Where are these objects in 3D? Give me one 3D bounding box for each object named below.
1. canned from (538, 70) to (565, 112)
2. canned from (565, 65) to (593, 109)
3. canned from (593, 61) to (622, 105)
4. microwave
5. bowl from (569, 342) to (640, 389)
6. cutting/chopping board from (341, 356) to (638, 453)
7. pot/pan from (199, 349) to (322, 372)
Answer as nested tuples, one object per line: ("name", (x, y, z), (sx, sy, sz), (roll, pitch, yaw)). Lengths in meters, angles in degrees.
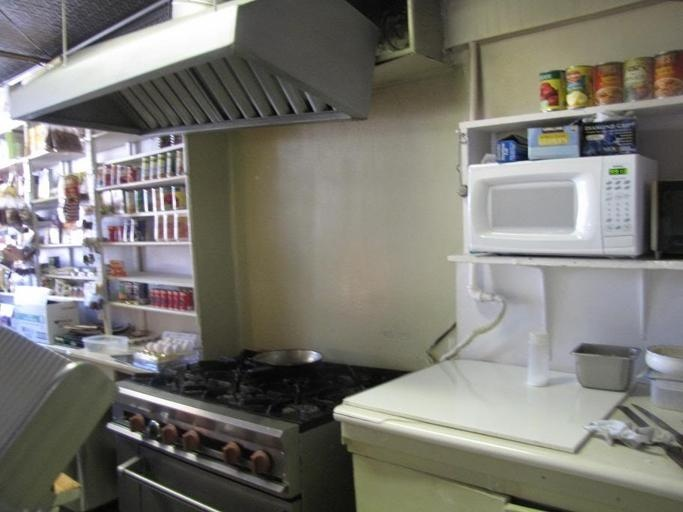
("canned", (0.797, -0.622, 2.065), (0.101, 0.142, 0.098), (-2, 5, 33))
("canned", (0.882, -0.614, 2.024), (0.113, 0.168, 0.105), (0, -10, 6))
("canned", (0.953, -0.616, 1.944), (0.094, 0.147, 0.039), (-1, 5, 24))
("microwave", (0.761, -0.179, 1.951), (0.581, 0.322, 0.416), (0, 1, 37))
("bowl", (0.983, 0.421, 2.030), (0.237, 0.129, 0.146), (-2, 8, 40))
("cutting/chopping board", (0.548, 0.522, 2.017), (0.840, 0.055, 0.674), (0, 5, 35))
("pot/pan", (-0.431, 0.564, 2.919), (0.411, 0.051, 0.245), (-3, 5, -2))
